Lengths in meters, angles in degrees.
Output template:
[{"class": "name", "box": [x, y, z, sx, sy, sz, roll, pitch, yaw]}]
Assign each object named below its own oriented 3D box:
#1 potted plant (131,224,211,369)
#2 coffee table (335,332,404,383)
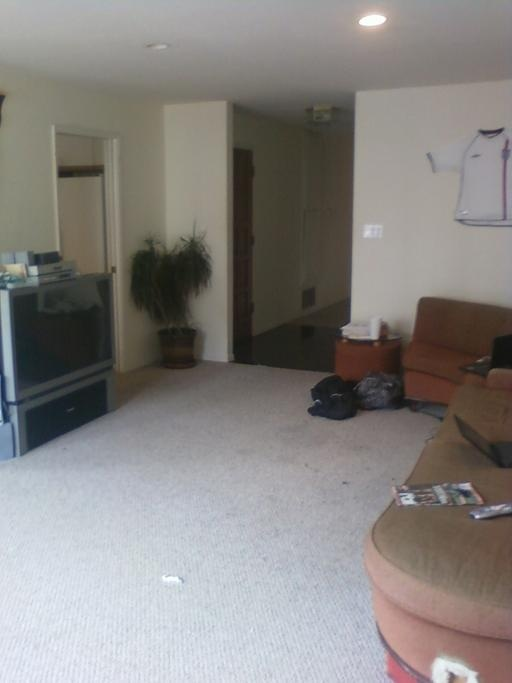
[{"class": "potted plant", "box": [-0.827, -0.411, 5.133, 0.624, 1.323, 0.727, 4, 9, 24]}, {"class": "coffee table", "box": [0.900, 0.137, 4.163, 0.351, 0.402, 0.386, 1, 9, 13]}]
